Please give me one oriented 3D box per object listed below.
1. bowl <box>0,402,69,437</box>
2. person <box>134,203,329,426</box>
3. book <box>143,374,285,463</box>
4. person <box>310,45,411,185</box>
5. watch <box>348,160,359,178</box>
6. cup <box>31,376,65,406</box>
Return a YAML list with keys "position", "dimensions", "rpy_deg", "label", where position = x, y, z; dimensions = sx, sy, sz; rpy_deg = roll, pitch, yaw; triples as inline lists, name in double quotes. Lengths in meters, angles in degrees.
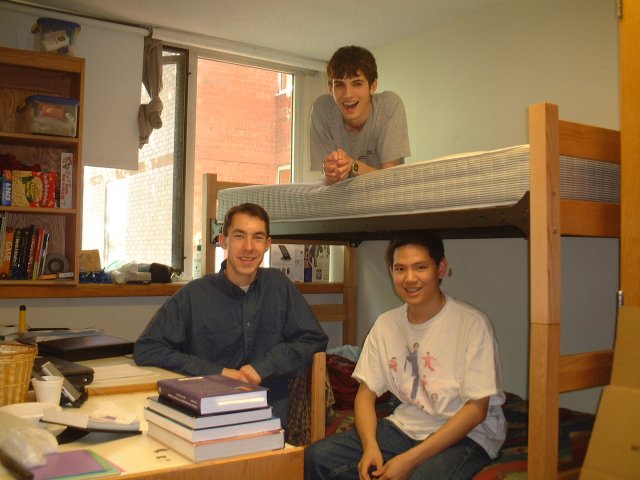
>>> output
- position: [-0.777, 0.481, 1.384]
  dimensions: [0.109, 0.040, 0.116]
  rpy_deg: [6, 0, 0]
  label: "bowl"
- position: [-0.395, 0.500, 2.416]
  dimensions: [0.921, 1.276, 0.629]
  rpy_deg: [3, 8, -11]
  label: "person"
- position: [-0.310, 0.486, 1.367]
  dimensions: [0.396, 0.169, 0.173]
  rpy_deg: [-1, 1, 19]
  label: "book"
- position: [0.189, -0.666, 3.049]
  dimensions: [0.596, 0.909, 0.845]
  rpy_deg: [0, 29, 12]
  label: "person"
- position: [0.191, -0.395, 2.843]
  dimensions: [0.058, 0.095, 0.085]
  rpy_deg: [11, -4, -32]
  label: "watch"
- position: [-0.800, 0.447, 1.513]
  dimensions: [0.087, 0.075, 0.091]
  rpy_deg: [0, -4, 0]
  label: "cup"
